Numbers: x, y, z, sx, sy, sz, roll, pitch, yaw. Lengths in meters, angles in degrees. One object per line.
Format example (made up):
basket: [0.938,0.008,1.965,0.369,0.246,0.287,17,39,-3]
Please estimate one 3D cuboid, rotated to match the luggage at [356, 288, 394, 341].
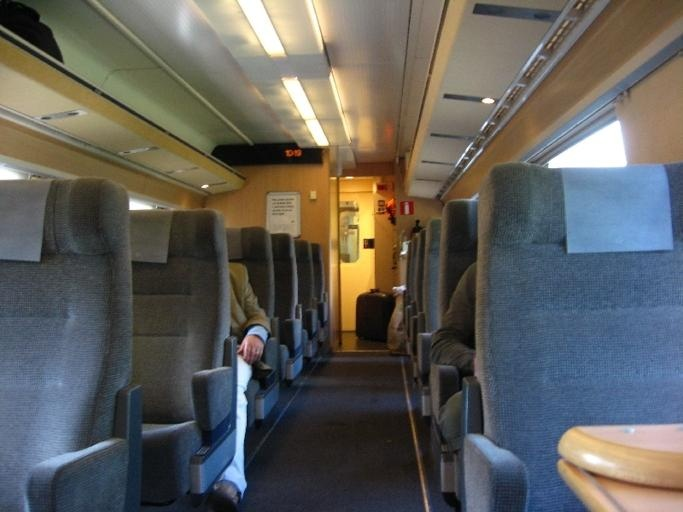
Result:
luggage: [0.648,1.042,9.189,0.412,0.748,0.750,-2,0,-43]
